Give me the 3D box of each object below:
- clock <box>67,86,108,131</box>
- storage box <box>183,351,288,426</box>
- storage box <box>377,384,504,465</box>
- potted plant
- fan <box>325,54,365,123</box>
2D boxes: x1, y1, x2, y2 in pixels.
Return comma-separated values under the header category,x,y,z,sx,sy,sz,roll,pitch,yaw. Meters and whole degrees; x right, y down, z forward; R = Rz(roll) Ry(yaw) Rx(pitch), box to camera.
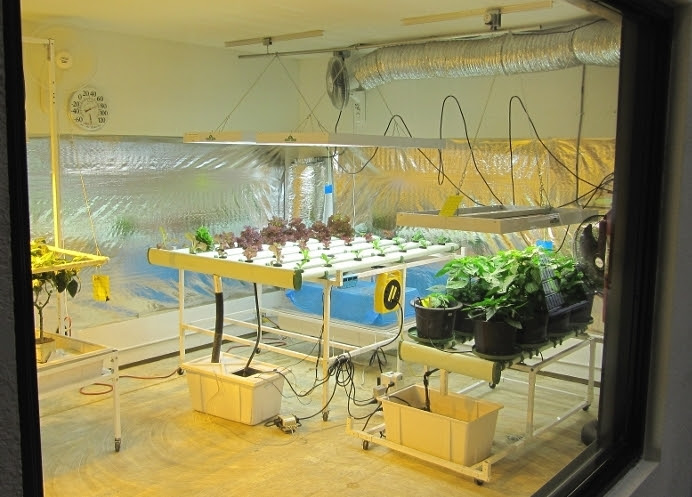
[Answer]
category,x,y,z,sx,sy,sz,roll,pitch,yaw
clock,-2.462,-1.335,5.078,0.036,0.317,0.369,5,30,31
storage box,-0.943,1.182,4.628,0.725,0.379,0.482,6,10,29
storage box,0.663,1.188,3.804,0.669,0.309,0.452,6,8,42
potted plant,1.070,0.200,3.794,0.958,0.458,0.883,-6,10,-43
fan,0.006,-1.766,5.834,0.406,0.747,1.085,1,11,2
